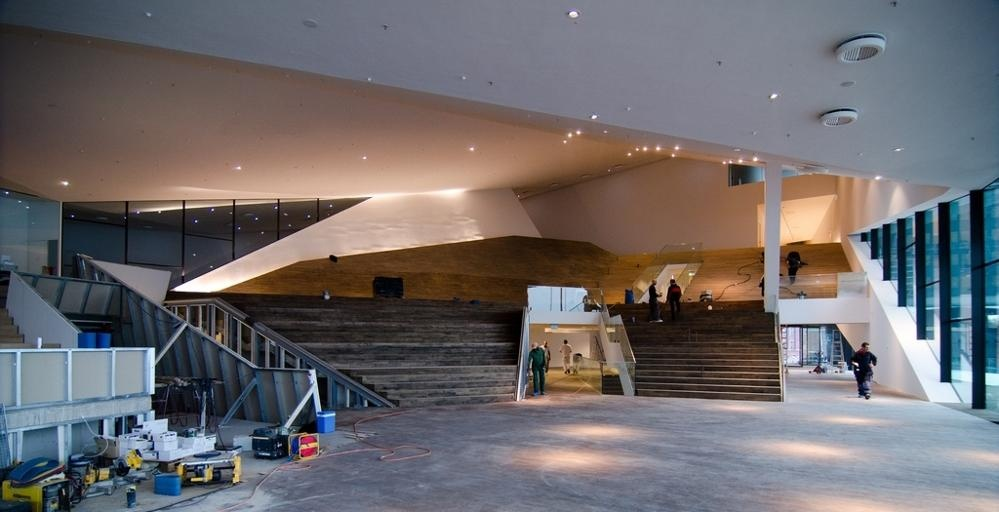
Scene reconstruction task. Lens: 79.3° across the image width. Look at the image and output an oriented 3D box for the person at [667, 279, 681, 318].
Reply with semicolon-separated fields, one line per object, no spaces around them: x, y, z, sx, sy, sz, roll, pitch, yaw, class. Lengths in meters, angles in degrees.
7.882;1.973;27.176;0.561;1.741;1.201;-9;-10;14;person
